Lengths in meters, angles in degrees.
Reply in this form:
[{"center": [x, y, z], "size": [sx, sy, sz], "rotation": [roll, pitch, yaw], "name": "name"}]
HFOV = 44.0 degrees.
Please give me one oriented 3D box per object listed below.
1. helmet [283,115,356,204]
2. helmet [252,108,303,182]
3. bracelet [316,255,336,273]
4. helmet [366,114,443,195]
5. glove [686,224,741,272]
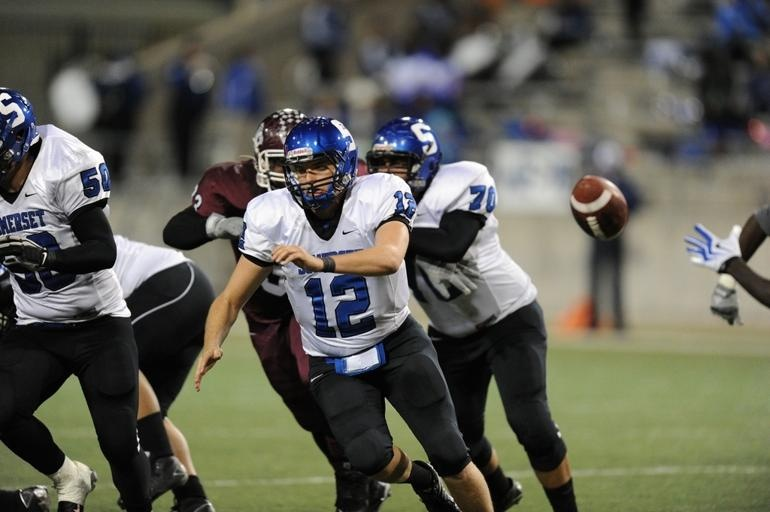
[{"center": [-0.299, -0.544, 5.299], "size": [0.367, 0.463, 0.488], "rotation": [-8, 8, 25], "name": "helmet"}, {"center": [-0.698, -0.677, 5.889], "size": [0.343, 0.440, 0.432], "rotation": [-2, 9, -18], "name": "helmet"}, {"center": [-0.307, 0.043, 4.952], "size": [0.066, 0.078, 0.085], "rotation": [-4, 0, 4], "name": "bracelet"}, {"center": [0.150, -0.655, 6.083], "size": [0.383, 0.447, 0.509], "rotation": [-4, 3, 36], "name": "helmet"}, {"center": [2.018, -0.054, 5.866], "size": [0.326, 0.289, 0.285], "rotation": [1, 8, 20], "name": "glove"}]
